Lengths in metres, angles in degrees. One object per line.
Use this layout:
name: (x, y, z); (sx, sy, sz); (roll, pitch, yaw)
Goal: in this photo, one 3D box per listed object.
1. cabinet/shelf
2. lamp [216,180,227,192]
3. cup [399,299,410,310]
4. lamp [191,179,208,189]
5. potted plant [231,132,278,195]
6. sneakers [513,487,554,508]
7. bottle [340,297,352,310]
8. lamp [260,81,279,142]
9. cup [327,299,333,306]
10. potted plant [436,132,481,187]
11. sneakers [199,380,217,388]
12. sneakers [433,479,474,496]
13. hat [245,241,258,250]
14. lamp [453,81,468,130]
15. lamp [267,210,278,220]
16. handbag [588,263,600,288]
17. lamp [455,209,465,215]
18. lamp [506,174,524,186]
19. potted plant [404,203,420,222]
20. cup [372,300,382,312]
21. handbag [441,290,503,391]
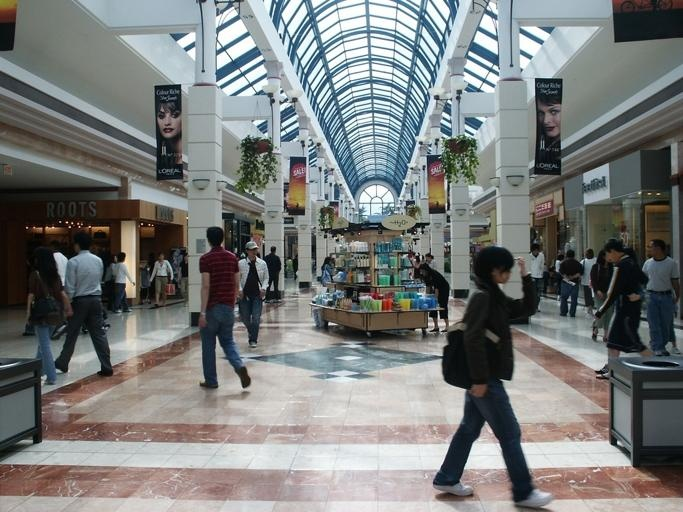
cabinet/shelf: (0.926, 0.660, 12.192); (1.841, 1.944, 3.148); (-2, 0, -10)
lamp: (-2.927, -1.706, 12.358); (0.220, 0.211, 0.241); (0, -5, -5)
cup: (1.331, 1.021, 10.771); (0.219, 0.249, 0.216); (3, 0, 0)
lamp: (-3.373, -1.734, 12.130); (0.275, 0.177, 0.272); (0, -1, -32)
potted plant: (-2.303, -2.617, 14.427); (0.930, 1.350, 1.091); (-4, 8, 21)
sneakers: (1.518, 1.928, 4.050); (0.325, 0.146, 0.133); (-3, 1, -4)
bottle: (0.089, 1.054, 11.229); (0.194, 0.271, 0.271); (-1, 0, -3)
lamp: (-2.393, -5.046, 17.448); (0.487, 2.131, 2.013); (-1, 0, -6)
cup: (-0.269, 1.089, 11.737); (0.109, 0.081, 0.109); (1, -3, 0)
potted plant: (3.271, -2.722, 14.158); (1.027, 1.202, 0.927); (13, 27, 32)
sneakers: (-1.832, 1.771, 6.986); (0.241, 0.096, 0.097); (3, 2, 13)
sneakers: (0.931, 1.941, 4.283); (0.351, 0.152, 0.130); (-1, 1, 0)
hat: (-1.690, -0.229, 9.504); (0.190, 0.132, 0.254); (-2, -8, -31)
lamp: (3.872, -5.161, 16.901); (0.421, 1.505, 1.520); (-1, 0, 11)
lamp: (-2.669, -1.608, 19.652); (0.482, 0.310, 0.137); (-1, 0, 1)
handbag: (5.177, 0.398, 10.437); (0.171, 0.488, 0.363); (2, 2, 15)
lamp: (4.365, -1.604, 18.682); (0.335, 0.172, 0.058); (-1, 0, 10)
lamp: (4.117, -1.794, 12.093); (0.300, 0.199, 0.296); (-3, 2, -38)
potted plant: (3.844, -2.381, 27.142); (0.719, 0.710, 1.927); (-1, 0, 9)
cup: (0.700, 1.028, 10.571); (0.223, 0.245, 0.220); (-1, -6, 0)
handbag: (1.004, 0.742, 3.953); (0.445, 0.529, 0.195); (-1, 0, 16)
